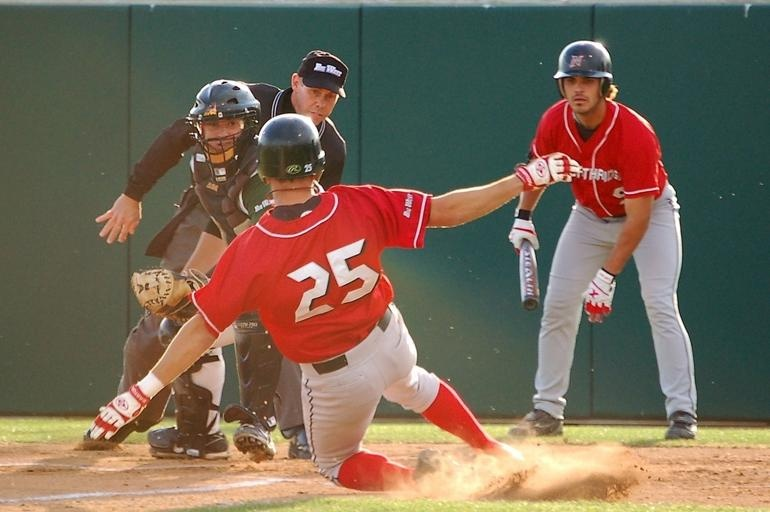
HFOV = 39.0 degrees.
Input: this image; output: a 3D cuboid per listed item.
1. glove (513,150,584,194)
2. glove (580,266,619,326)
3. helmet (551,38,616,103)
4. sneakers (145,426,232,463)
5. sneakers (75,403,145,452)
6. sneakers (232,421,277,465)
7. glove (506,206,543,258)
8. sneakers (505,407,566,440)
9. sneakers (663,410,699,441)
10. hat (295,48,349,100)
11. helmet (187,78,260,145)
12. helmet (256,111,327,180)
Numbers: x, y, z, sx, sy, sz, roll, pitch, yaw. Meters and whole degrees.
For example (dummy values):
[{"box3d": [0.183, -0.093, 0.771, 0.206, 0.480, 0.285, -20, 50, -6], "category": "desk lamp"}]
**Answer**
[{"box3d": [1.015, -0.520, 6.692, 0.361, 0.212, 0.107, -18, -24, -13], "category": "glove"}, {"box3d": [1.511, 0.267, 7.688, 0.242, 0.357, 0.113, 23, 4, 35], "category": "glove"}, {"box3d": [1.457, -1.359, 7.837, 0.411, 0.410, 0.544, 10, 13, 36], "category": "helmet"}, {"box3d": [-1.354, 1.291, 7.469, 0.543, 0.228, 0.225, 4, -3, -10], "category": "sneakers"}, {"box3d": [-1.845, 1.173, 7.350, 0.444, 0.164, 0.263, -37, 51, -6], "category": "sneakers"}, {"box3d": [-0.868, 1.223, 7.216, 0.181, 0.316, 0.161, -17, 48, 11], "category": "sneakers"}, {"box3d": [1.015, -0.188, 8.032, 0.220, 0.339, 0.141, -7, 3, 7], "category": "glove"}, {"box3d": [1.134, 1.263, 8.129, 0.484, 0.204, 0.166, 1, -3, -10], "category": "sneakers"}, {"box3d": [2.169, 1.229, 7.968, 0.221, 0.228, 0.283, 1, 12, 14], "category": "sneakers"}, {"box3d": [-0.451, -1.368, 7.890, 0.372, 0.250, 0.482, -2, 31, -29], "category": "hat"}, {"box3d": [-1.072, -0.966, 7.281, 0.379, 0.346, 0.447, -3, 14, 4], "category": "helmet"}, {"box3d": [-0.580, -0.679, 6.711, 0.474, 0.364, 0.477, -5, 19, -5], "category": "helmet"}]
